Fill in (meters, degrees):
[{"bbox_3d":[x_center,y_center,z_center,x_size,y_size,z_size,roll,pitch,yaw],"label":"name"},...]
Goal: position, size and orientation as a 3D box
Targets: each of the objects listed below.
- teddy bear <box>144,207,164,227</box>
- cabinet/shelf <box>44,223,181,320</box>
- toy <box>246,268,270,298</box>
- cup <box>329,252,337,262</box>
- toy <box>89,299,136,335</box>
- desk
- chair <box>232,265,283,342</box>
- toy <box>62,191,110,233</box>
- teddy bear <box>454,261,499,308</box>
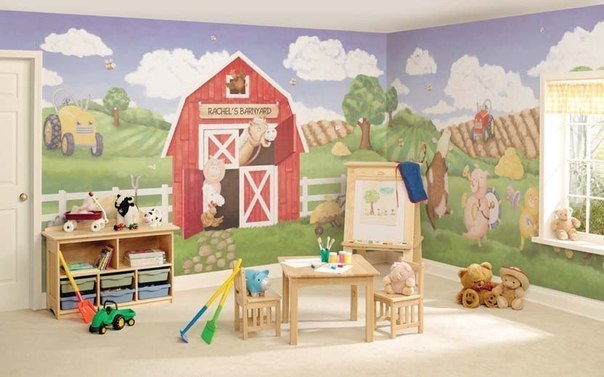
[{"bbox_3d":[-2.093,0.420,7.283,0.198,0.214,0.281,1,-3,37],"label":"teddy bear"},{"bbox_3d":[-2.619,1.109,7.027,1.680,1.021,0.524,1,4,-43],"label":"cabinet/shelf"},{"bbox_3d":[-0.524,1.141,6.202,0.334,0.248,0.257,1,1,43],"label":"toy"},{"bbox_3d":[0.396,0.869,6.478,0.113,0.112,0.110,1,4,0],"label":"cup"},{"bbox_3d":[-2.417,1.624,6.457,0.308,0.321,0.556,-1,-3,37],"label":"toy"},{"bbox_3d":[0.258,1.455,6.500,1.128,0.787,1.046,-1,1,-10],"label":"desk"},{"bbox_3d":[-0.563,1.402,6.385,0.535,0.785,0.558,2,-2,-21],"label":"chair"},{"bbox_3d":[-2.926,0.352,6.915,0.669,0.595,0.428,0,2,-9],"label":"toy"},{"bbox_3d":[2.395,1.335,7.232,0.712,0.641,0.545,-2,-4,0],"label":"teddy bear"}]
